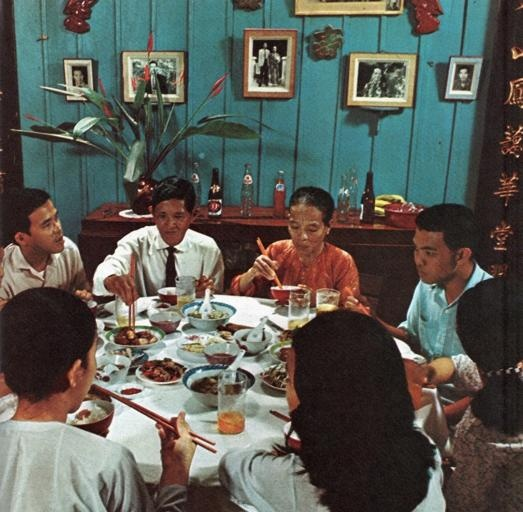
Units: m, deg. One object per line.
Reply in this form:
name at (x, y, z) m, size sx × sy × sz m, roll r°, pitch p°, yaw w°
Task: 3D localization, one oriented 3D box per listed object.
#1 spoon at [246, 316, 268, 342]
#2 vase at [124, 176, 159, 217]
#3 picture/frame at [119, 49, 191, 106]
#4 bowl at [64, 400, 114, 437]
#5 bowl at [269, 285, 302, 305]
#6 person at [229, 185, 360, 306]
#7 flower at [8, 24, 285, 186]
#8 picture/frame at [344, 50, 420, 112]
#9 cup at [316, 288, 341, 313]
spoon at (-0.020, 0.244, 1.659) m, size 0.039 × 0.017 × 0.104 m, roll 13°, pitch 36°, yaw 13°
vase at (-0.668, -0.350, 2.857) m, size 0.276 × 0.209 × 0.176 m, roll -6°, pitch 39°, yaw -16°
picture/frame at (-0.626, -1.046, 2.891) m, size 0.529 × 0.327 × 0.034 m, roll 0°, pitch 15°, yaw -1°
bowl at (-0.412, 0.388, 1.216) m, size 0.110 × 0.036 × 0.094 m, roll 1°, pitch 9°, yaw -2°
bowl at (0.096, 0.154, 2.006) m, size 0.102 × 0.043 × 0.087 m, roll 0°, pitch 2°, yaw 0°
person at (0.185, -0.042, 2.617) m, size 0.772 × 0.749 × 0.544 m, roll 4°, pitch 7°, yaw 17°
flower at (-0.647, -0.756, 2.983) m, size 1.319 × 0.761 × 1.146 m, roll -5°, pitch 4°, yaw 33°
picture/frame at (0.689, -1.013, 2.879) m, size 0.416 × 0.289 × 0.033 m, roll 19°, pitch 35°, yaw 38°
cup at (0.227, 0.163, 1.859) m, size 0.115 × 0.093 × 0.099 m, roll 1°, pitch 4°, yaw 2°
